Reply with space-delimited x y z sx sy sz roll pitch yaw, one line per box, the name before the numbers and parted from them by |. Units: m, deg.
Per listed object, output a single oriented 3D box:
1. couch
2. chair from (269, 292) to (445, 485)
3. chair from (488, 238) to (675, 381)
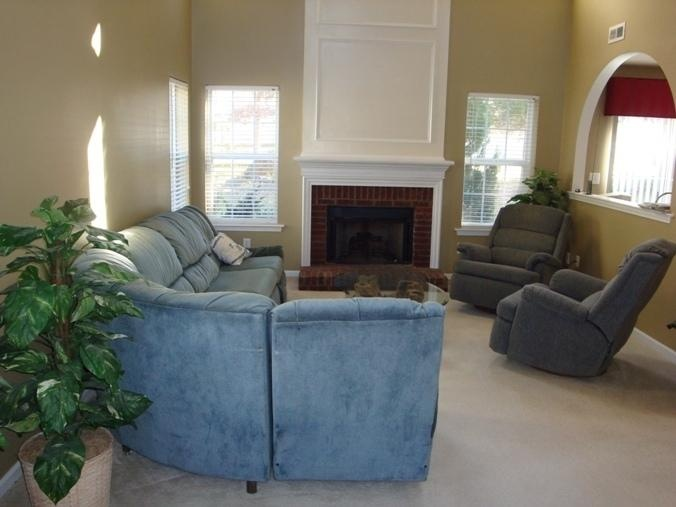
couch | -1.123 0.444 4.660 1.057 1.356 3.351 1 12 -7
chair | 0.084 0.707 3.540 0.927 1.067 1.003 1 11 -2
chair | 2.204 0.305 4.893 1.262 1.337 1.197 5 7 31
